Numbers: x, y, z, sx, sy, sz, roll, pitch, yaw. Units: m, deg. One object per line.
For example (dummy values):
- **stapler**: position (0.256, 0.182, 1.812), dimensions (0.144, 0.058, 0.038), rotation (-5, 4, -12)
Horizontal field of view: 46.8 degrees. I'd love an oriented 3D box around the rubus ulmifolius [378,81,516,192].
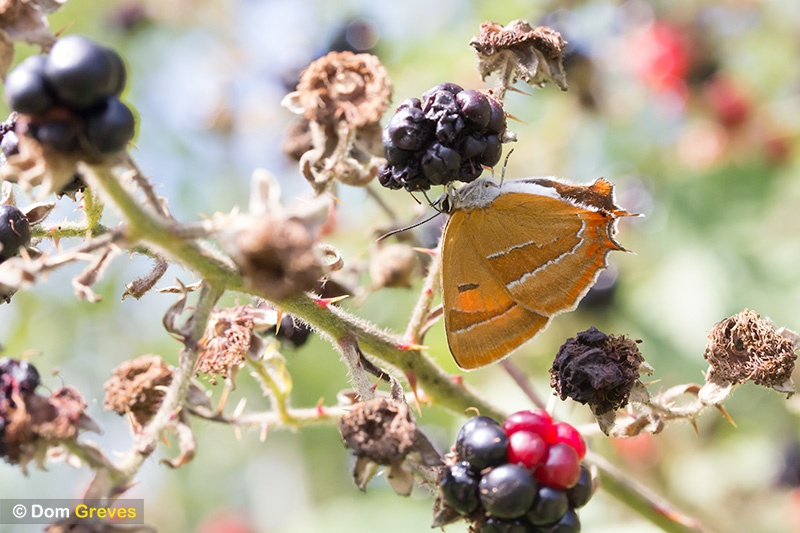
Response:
- **rubus ulmifolius**: position (0.193, -0.646, 4.646), dimensions (0.616, 0.450, 0.283), rotation (-2, -32, 8)
